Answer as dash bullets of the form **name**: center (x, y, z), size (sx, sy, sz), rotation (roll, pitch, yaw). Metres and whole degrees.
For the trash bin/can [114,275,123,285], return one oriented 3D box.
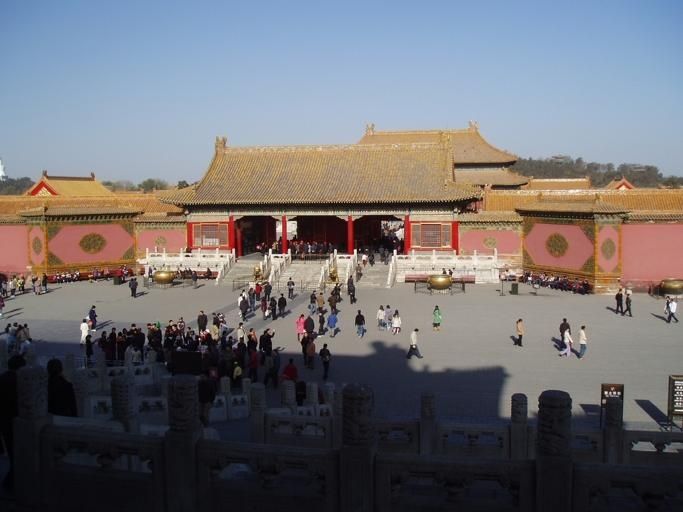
- **trash bin/can**: center (-11.890, 1.299, 42.641), size (0.331, 0.449, 0.644), rotation (-2, 2, 1)

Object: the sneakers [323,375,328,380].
- **sneakers**: center (-0.475, 3.632, 23.884), size (0.124, 0.125, 0.319), rotation (5, -1, -3)

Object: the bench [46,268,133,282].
- **bench**: center (-14.715, 1.136, 46.071), size (4.304, 0.801, 0.883), rotation (0, 0, -16)
